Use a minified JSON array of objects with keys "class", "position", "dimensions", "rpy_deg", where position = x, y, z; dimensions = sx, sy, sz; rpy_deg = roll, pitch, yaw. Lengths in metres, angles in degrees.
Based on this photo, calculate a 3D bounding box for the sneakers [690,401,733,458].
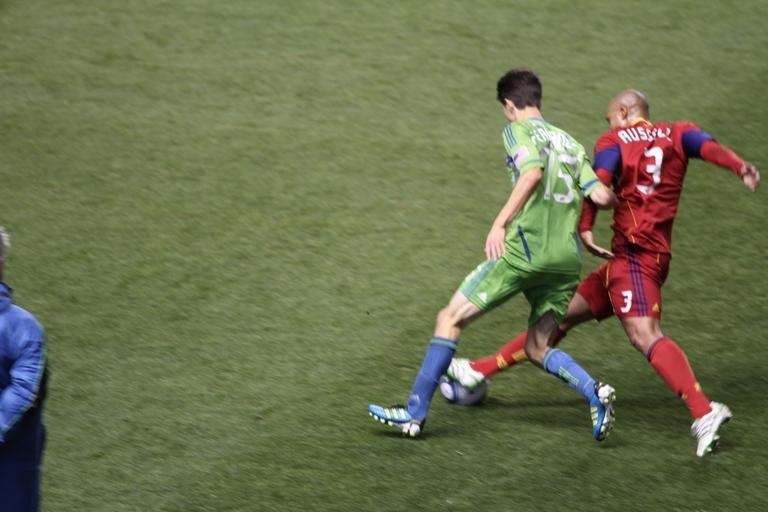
[{"class":"sneakers","position":[2.262,1.186,10.578],"dimensions":[0.226,0.144,0.367],"rpy_deg":[22,63,18]}]

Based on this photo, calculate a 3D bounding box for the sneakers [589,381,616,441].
[{"class":"sneakers","position":[1.515,1.065,10.652],"dimensions":[0.252,0.396,0.161],"rpy_deg":[7,26,20]}]

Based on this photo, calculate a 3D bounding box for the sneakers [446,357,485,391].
[{"class":"sneakers","position":[0.595,0.850,11.061],"dimensions":[0.375,0.126,0.149],"rpy_deg":[28,83,8]}]

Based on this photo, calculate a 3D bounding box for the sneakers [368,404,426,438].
[{"class":"sneakers","position":[0.081,1.125,10.776],"dimensions":[0.425,0.151,0.142],"rpy_deg":[18,-9,-18]}]
